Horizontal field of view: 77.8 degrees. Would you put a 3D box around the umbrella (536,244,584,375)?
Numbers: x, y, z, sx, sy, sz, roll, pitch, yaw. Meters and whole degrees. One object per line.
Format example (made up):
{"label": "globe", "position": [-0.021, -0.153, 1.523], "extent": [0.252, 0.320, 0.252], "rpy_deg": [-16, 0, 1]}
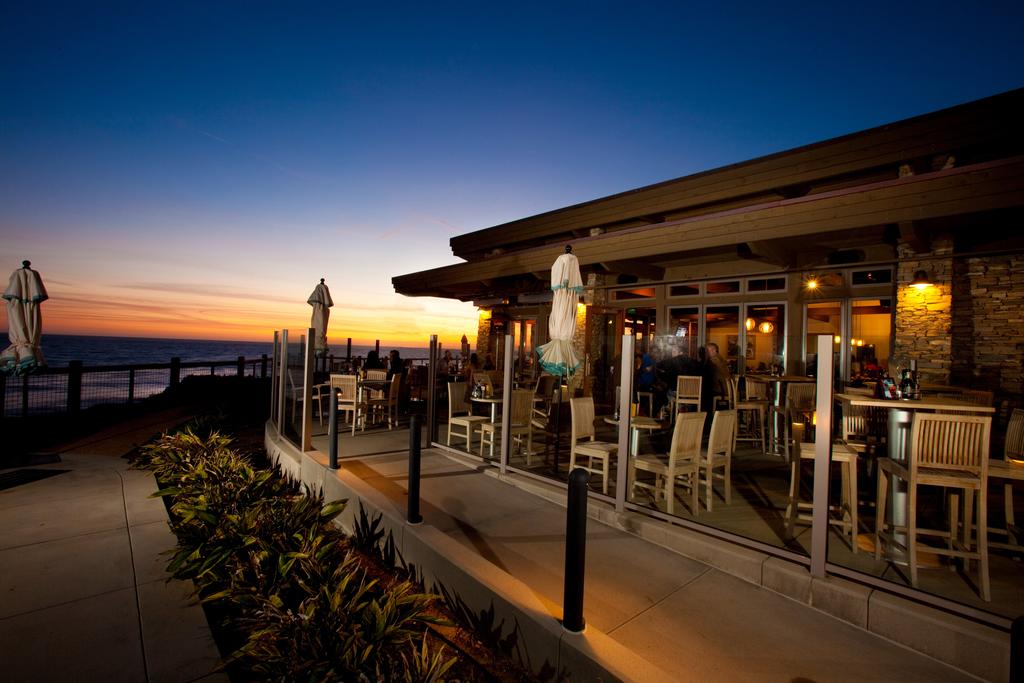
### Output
{"label": "umbrella", "position": [0.970, -0.635, 12.913], "extent": [0.798, 2.676, 0.812], "rpy_deg": [0, 2, 4]}

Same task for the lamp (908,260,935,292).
{"label": "lamp", "position": [8.948, -1.387, 13.830], "extent": [0.582, 0.573, 0.605], "rpy_deg": [2, 4, 40]}
